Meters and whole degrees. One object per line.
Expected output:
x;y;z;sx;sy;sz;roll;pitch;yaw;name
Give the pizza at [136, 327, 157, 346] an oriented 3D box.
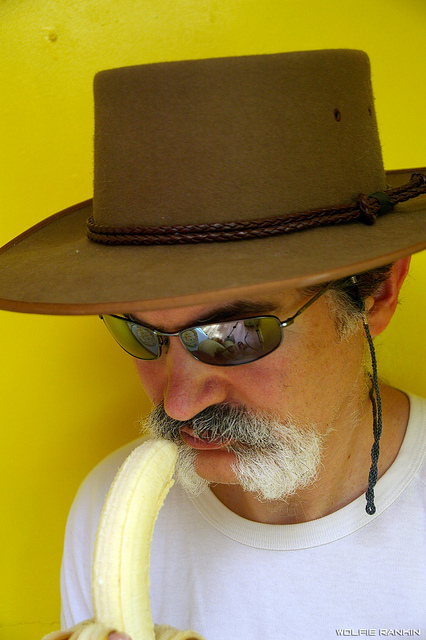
-0.159;0.042;1.866;0.056;0.048;0.014;12;49;42;pizza
